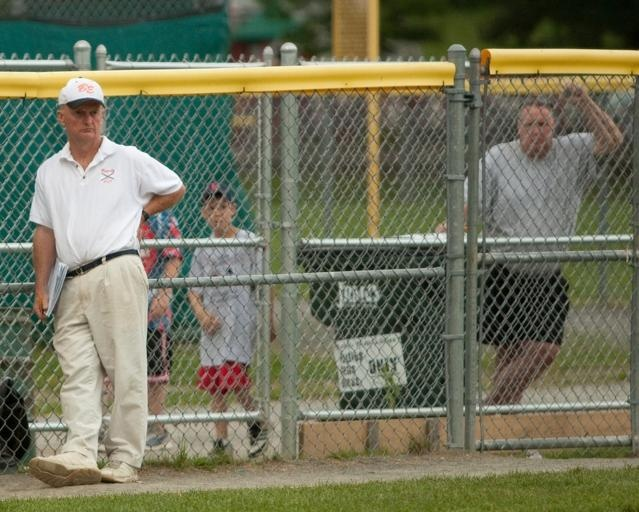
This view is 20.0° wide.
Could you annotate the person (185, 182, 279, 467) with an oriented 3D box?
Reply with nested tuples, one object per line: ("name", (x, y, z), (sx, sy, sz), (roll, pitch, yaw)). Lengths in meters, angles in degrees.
("person", (-0.692, 0.470, 14.131), (0.640, 2.083, 1.155), (-3, 2, -9))

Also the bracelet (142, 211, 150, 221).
("bracelet", (-1.227, -0.282, 12.908), (0.024, 0.068, 0.056), (-24, -14, -48))

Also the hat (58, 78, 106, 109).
("hat", (-1.670, -1.149, 12.707), (0.316, 0.217, 0.233), (-3, 3, -8))

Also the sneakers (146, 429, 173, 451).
("sneakers", (-1.231, 1.451, 14.144), (0.290, 0.194, 0.187), (0, -3, 7))

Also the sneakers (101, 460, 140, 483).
("sneakers", (-1.389, 1.531, 12.655), (0.233, 0.117, 0.116), (17, -8, -30))

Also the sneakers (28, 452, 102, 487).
("sneakers", (-1.737, 1.492, 12.473), (0.440, 0.229, 0.229), (12, 19, -18))

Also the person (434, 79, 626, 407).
("person", (1.684, -0.062, 13.817), (1.069, 2.423, 1.027), (-2, 2, 11))

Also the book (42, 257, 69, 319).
("book", (-1.837, 0.232, 12.721), (0.163, 0.385, 0.181), (-2, 2, -3))

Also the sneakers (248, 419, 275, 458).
("sneakers", (-0.451, 1.375, 13.698), (0.178, 0.294, 0.503), (-3, 3, -2))

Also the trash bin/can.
("trash bin/can", (0.496, 0.582, 13.828), (1.243, 1.492, 1.082), (-1, -3, -15))

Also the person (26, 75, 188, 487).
("person", (-1.550, 0.183, 12.672), (1.010, 2.852, 0.521), (-3, 2, -7))
